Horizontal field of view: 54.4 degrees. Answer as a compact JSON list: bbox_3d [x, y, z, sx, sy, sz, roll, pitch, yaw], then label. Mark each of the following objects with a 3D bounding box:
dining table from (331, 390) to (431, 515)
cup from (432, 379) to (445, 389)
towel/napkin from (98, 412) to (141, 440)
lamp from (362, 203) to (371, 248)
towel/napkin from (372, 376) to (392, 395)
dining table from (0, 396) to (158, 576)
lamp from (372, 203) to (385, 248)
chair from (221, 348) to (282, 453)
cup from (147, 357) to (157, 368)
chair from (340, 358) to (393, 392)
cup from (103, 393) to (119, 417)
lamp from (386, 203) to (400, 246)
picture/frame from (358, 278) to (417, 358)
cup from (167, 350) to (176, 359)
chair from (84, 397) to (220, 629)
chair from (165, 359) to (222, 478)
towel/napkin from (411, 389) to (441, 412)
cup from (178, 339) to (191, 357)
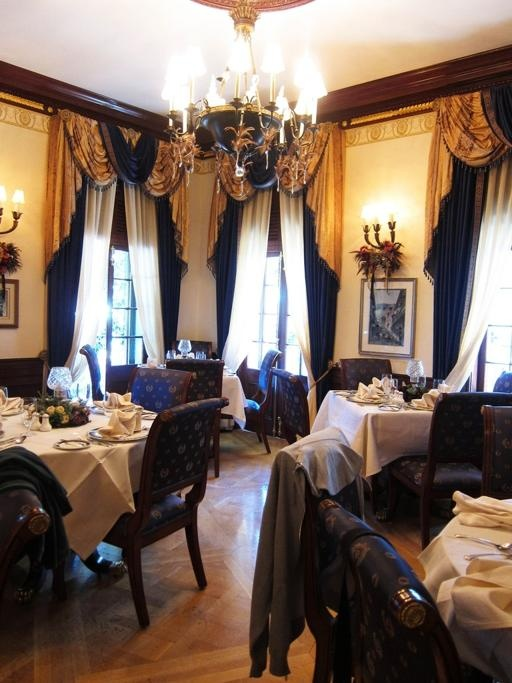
[{"bbox_3d":[1.048,0.874,3.870,0.807,0.548,1.106,-4,-15,8],"label":"dining table"},{"bbox_3d":[1.375,0.320,3.762,0.056,0.081,0.063,2,-1,-6],"label":"cup"},{"bbox_3d":[-0.693,0.416,2.530,0.117,0.072,0.152,3,-1,-37],"label":"towel/napkin"},{"bbox_3d":[1.145,-1.221,5.220,0.083,0.392,0.233,2,2,13],"label":"lamp"},{"bbox_3d":[0.992,0.364,3.945,0.055,0.172,0.124,10,12,4],"label":"towel/napkin"},{"bbox_3d":[-0.757,0.630,2.184,0.609,0.220,0.735,2,-1,15],"label":"dining table"},{"bbox_3d":[1.249,-1.193,5.109,0.113,0.470,0.226,2,2,13],"label":"lamp"},{"bbox_3d":[-0.100,0.658,5.727,0.632,1.155,0.571,3,4,-10],"label":"chair"},{"bbox_3d":[-0.976,0.200,4.670,0.090,0.107,0.098,2,-5,0],"label":"cup"},{"bbox_3d":[1.056,0.310,4.876,0.291,0.526,0.370,2,-7,-12],"label":"chair"},{"bbox_3d":[-0.932,0.421,3.213,0.104,0.060,0.151,-3,24,-17],"label":"cup"},{"bbox_3d":[1.373,-1.219,5.065,0.135,0.426,0.151,3,2,29],"label":"lamp"},{"bbox_3d":[1.355,-0.251,5.182,0.573,0.950,0.032,2,-26,17],"label":"picture/frame"},{"bbox_3d":[-0.967,0.146,5.658,0.053,0.067,0.109,8,2,-6],"label":"cup"},{"bbox_3d":[-0.552,0.797,2.606,0.618,1.084,0.485,7,5,33],"label":"chair"},{"bbox_3d":[-0.501,0.743,4.658,0.479,0.596,0.837,10,34,-6],"label":"chair"},{"bbox_3d":[1.236,0.411,3.690,0.204,0.084,0.163,0,0,-36],"label":"towel/napkin"},{"bbox_3d":[-0.819,0.084,5.650,0.139,0.189,0.473,2,2,-10],"label":"cup"}]
